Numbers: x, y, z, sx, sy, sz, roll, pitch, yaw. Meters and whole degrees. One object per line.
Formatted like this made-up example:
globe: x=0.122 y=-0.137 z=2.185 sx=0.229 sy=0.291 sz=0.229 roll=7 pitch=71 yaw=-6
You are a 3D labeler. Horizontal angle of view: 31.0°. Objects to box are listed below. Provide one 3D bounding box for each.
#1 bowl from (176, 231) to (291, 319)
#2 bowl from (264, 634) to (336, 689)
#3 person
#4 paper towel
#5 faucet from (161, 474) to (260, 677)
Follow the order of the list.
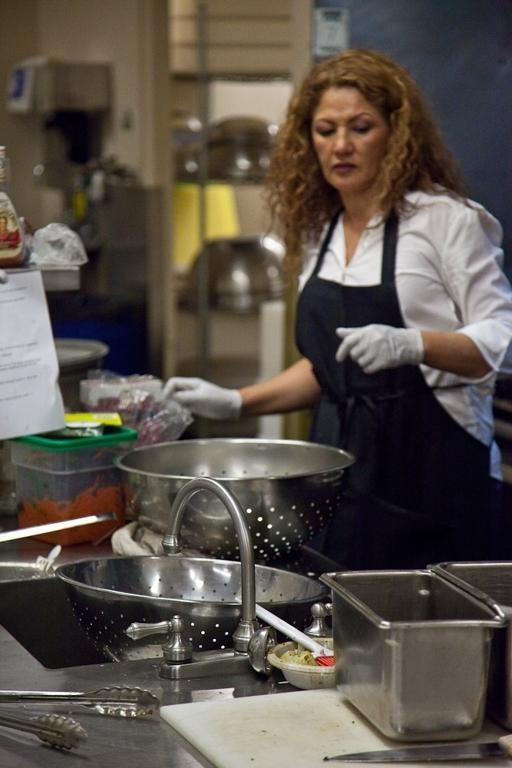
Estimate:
bowl: x=-0.074 y=-0.358 z=3.040 sx=0.315 sy=0.174 sz=0.287 roll=0 pitch=-1 yaw=0
bowl: x=0.047 y=0.303 z=1.002 sx=0.071 sy=0.036 sz=0.119 roll=1 pitch=5 yaw=2
person: x=0.231 y=-0.138 z=1.952 sx=0.621 sy=1.101 sz=0.525 roll=4 pitch=7 yaw=25
paper towel: x=0.053 y=-0.059 z=3.166 sx=0.132 sy=0.490 sz=0.112 roll=5 pitch=26 yaw=15
faucet: x=-0.054 y=0.212 z=1.047 sx=0.106 sy=0.204 sz=0.137 roll=1 pitch=6 yaw=-5
